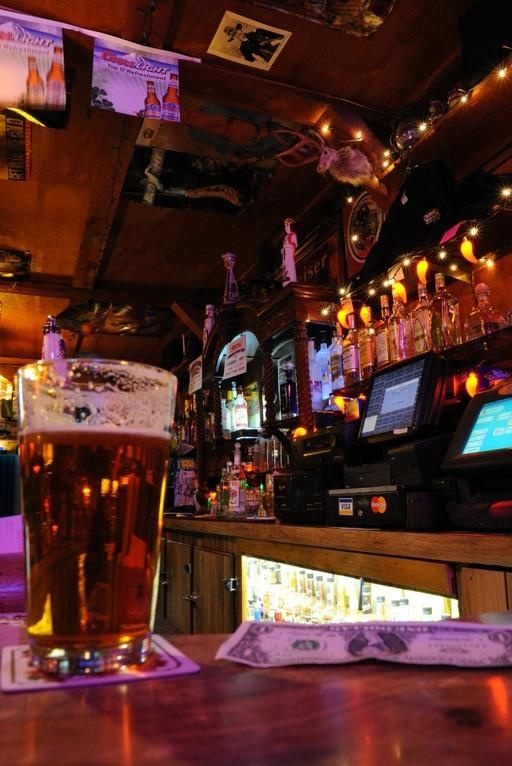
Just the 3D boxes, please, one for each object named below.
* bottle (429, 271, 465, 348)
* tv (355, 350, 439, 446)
[{"bbox_3d":[0.807,-0.305,2.423,0.122,0.377,0.242,-5,-11,18],"label":"bottle"},{"bbox_3d":[0.512,0.056,2.012,0.054,0.243,0.332,16,-19,-13],"label":"tv"}]
